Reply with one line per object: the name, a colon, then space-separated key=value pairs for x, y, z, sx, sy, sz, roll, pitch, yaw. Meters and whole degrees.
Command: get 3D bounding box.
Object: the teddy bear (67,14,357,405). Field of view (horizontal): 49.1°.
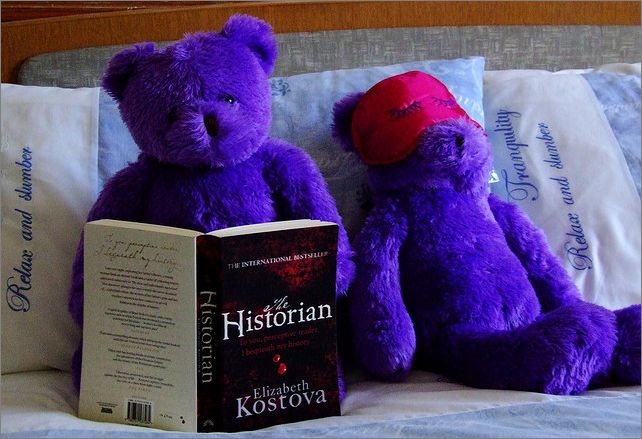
teddy bear: x=-0.249 y=-0.006 z=1.501 sx=0.606 sy=0.767 sz=0.486 roll=-9 pitch=23 yaw=-19
